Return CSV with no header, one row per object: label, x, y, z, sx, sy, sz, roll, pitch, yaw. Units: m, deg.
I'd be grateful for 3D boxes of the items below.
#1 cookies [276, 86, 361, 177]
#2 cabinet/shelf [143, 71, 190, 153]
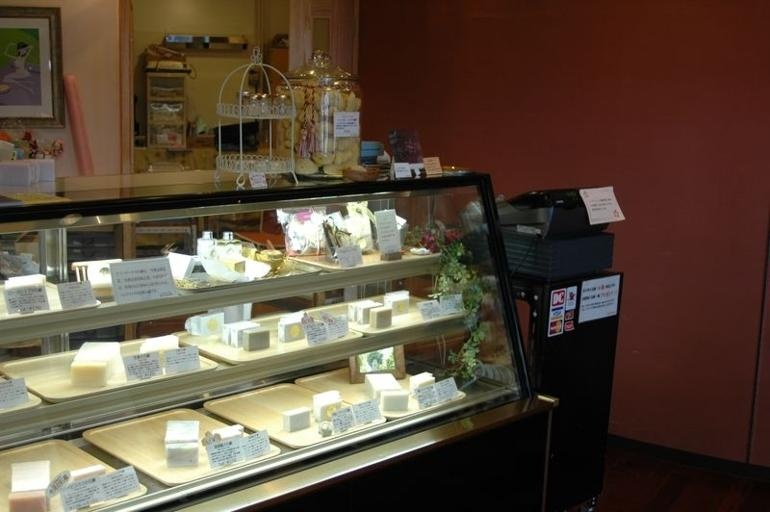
cookies,-0.247,-0.537,2.547,0.381,0.393,0.370,-4,10,-29
cabinet/shelf,-2.313,-1.537,6.068,0.492,0.818,0.190,-9,15,-15
